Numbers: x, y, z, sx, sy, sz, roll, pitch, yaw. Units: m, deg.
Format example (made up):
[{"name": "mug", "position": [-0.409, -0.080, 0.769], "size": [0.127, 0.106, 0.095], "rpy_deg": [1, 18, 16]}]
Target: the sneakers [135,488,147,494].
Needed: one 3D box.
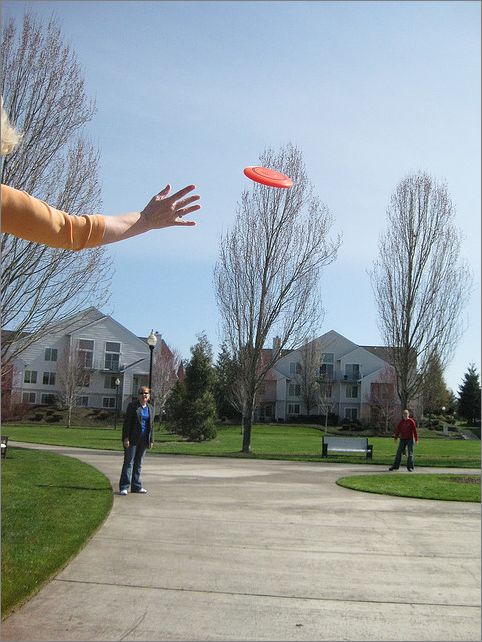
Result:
[{"name": "sneakers", "position": [-1.632, 2.839, 8.449], "size": [0.201, 0.098, 0.075], "rpy_deg": [-1, 26, 14]}]

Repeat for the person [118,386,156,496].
[{"name": "person", "position": [-1.752, 1.989, 8.680], "size": [0.510, 1.768, 0.946], "rpy_deg": [4, -10, -11]}]
